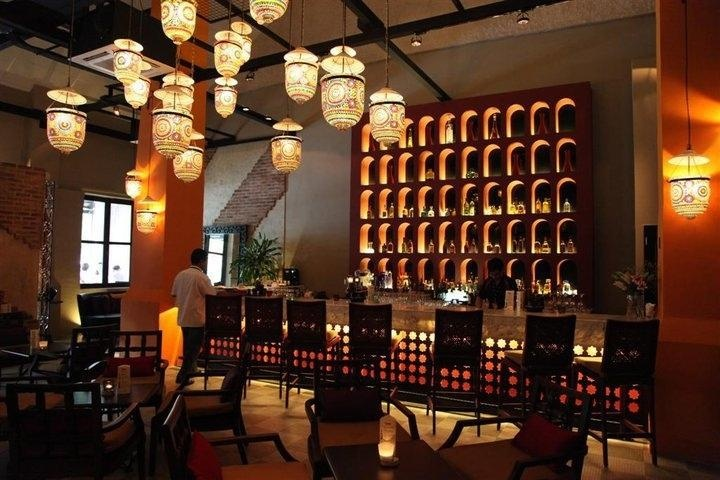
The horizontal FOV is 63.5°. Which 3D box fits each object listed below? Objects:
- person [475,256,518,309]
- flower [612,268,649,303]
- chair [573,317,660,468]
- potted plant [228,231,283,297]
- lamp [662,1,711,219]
[{"bbox_3d":[2.112,0.668,9.025,0.601,0.757,0.576,-1,-7,14],"label":"person"},{"bbox_3d":[3.759,0.578,8.078,0.660,0.461,0.674,-2,-4,29],"label":"flower"},{"bbox_3d":[3.245,1.861,7.297,0.920,1.754,0.935,0,-7,8],"label":"chair"},{"bbox_3d":[-2.456,0.460,13.528,1.312,1.523,1.213,0,-6,19],"label":"potted plant"},{"bbox_3d":[4.097,-1.661,7.328,0.482,2.765,0.314,-3,-8,27],"label":"lamp"}]
